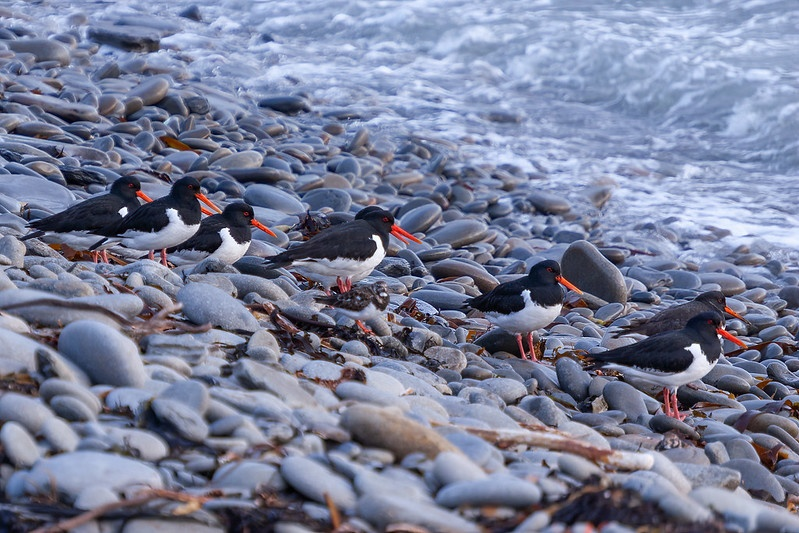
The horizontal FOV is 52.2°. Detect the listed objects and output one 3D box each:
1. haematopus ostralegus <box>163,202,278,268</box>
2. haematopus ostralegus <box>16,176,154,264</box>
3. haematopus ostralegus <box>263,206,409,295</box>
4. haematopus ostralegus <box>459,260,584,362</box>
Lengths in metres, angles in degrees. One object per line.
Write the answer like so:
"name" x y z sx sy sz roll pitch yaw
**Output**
"haematopus ostralegus" -1.947 -0.220 8.679 1.507 0.745 0.605 -3 1 23
"haematopus ostralegus" -3.178 -0.446 8.314 0.679 0.689 1.259 22 24 8
"haematopus ostralegus" -0.662 -0.146 8.445 0.905 0.868 1.050 23 25 11
"haematopus ostralegus" 1.316 0.428 8.306 0.685 0.944 0.811 5 29 -27
